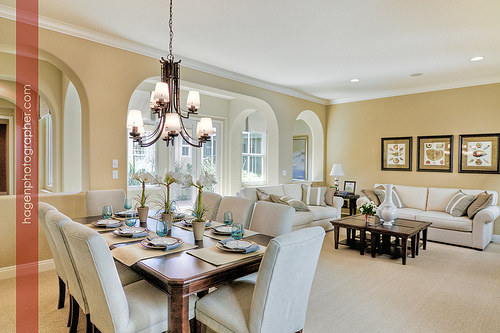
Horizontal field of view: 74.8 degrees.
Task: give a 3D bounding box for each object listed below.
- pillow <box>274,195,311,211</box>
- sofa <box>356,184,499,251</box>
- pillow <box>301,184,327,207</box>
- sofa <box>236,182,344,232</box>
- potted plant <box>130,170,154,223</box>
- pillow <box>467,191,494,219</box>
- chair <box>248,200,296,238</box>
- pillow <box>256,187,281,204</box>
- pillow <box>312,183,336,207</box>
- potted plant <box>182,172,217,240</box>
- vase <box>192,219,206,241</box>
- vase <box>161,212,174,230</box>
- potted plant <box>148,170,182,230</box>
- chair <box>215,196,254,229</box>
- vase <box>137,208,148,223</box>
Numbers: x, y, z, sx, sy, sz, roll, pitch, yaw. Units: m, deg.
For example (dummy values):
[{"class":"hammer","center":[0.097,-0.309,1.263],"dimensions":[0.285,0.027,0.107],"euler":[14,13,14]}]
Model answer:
[{"class":"pillow","center":[0.853,0.704,6.325],"dimensions":[0.363,0.107,0.355],"euler":[25,0,-1]},{"class":"sofa","center":[3.861,0.960,6.393],"dimensions":[1.129,1.172,2.836],"euler":[7,-7,-43]},{"class":"pillow","center":[1.368,0.612,6.957],"dimensions":[0.514,0.481,0.176],"euler":[4,14,14]},{"class":"sofa","center":[0.895,0.842,6.641],"dimensions":[0.943,0.924,2.216],"euler":[2,1,36]},{"class":"potted plant","center":[-1.289,0.391,4.158],"dimensions":[0.312,0.559,0.327],"euler":[3,-2,-34]},{"class":"pillow","center":[4.154,0.706,5.894],"dimensions":[0.417,0.445,0.226],"euler":[0,0,-12]},{"class":"chair","center":[0.286,0.624,4.085],"dimensions":[0.398,0.569,0.465],"euler":[7,-12,40]},{"class":"pillow","center":[0.338,0.535,6.198],"dimensions":[0.502,0.270,0.334],"euler":[-1,-1,23]},{"class":"pillow","center":[1.570,0.625,7.004],"dimensions":[0.418,0.416,0.182],"euler":[3,-9,13]},{"class":"potted plant","center":[-0.567,0.457,3.660],"dimensions":[0.438,0.709,0.438],"euler":[1,-5,4]},{"class":"vase","center":[-0.555,0.691,3.578],"dimensions":[0.199,0.224,0.203],"euler":[-2,-3,3]},{"class":"vase","center":[-0.895,0.610,3.684],"dimensions":[0.187,0.216,0.199],"euler":[-4,-7,25]},{"class":"potted plant","center":[-1.006,0.414,3.953],"dimensions":[0.497,0.653,0.385],"euler":[6,-15,-34]},{"class":"chair","center":[-0.175,0.587,4.390],"dimensions":[0.360,0.514,0.436],"euler":[4,-14,38]},{"class":"vase","center":[-1.329,0.611,4.055],"dimensions":[0.174,0.182,0.155],"euler":[4,-10,-36]}]
